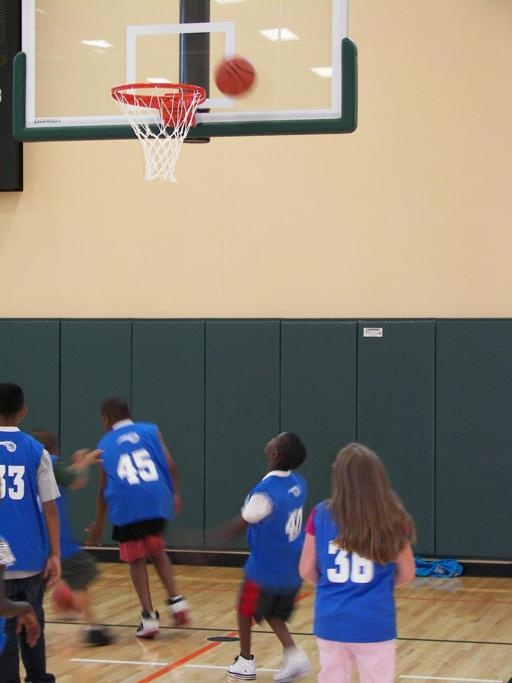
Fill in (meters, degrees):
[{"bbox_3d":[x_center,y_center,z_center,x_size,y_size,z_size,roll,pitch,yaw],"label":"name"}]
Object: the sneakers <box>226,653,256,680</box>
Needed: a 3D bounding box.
[{"bbox_3d":[-0.063,1.508,3.262,0.063,0.102,0.165,5,-4,-35],"label":"sneakers"}]
